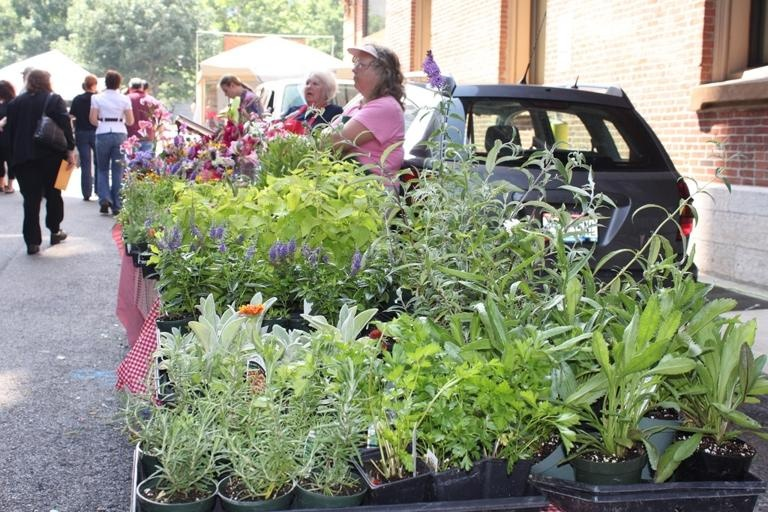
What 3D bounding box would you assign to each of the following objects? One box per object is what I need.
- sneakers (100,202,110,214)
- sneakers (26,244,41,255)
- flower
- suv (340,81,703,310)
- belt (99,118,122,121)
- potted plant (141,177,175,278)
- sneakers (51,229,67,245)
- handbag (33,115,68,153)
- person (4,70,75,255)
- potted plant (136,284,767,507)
[{"bbox_3d":[-5.032,-0.830,12.563,0.110,0.126,0.294,-5,-33,-32],"label":"sneakers"},{"bbox_3d":[-4.542,-0.083,9.033,0.082,0.086,0.196,-2,7,-6],"label":"sneakers"},{"bbox_3d":[-0.659,-0.015,3.730,0.748,0.306,0.784,0,20,4],"label":"flower"},{"bbox_3d":[1.300,-0.513,5.094,1.245,1.102,2.202,0,21,-15],"label":"suv"},{"bbox_3d":[-4.657,-2.308,11.819,0.318,0.066,0.083,0,14,2],"label":"belt"},{"bbox_3d":[-1.413,-0.173,4.383,0.209,0.635,0.253,9,-6,-8],"label":"potted plant"},{"bbox_3d":[-4.496,-0.258,9.696,0.112,0.140,0.307,-1,16,5],"label":"sneakers"},{"bbox_3d":[-4.097,-1.526,8.693,0.390,0.393,0.141,4,11,-10],"label":"handbag"},{"bbox_3d":[-4.391,-1.200,8.988,0.734,2.342,0.846,-7,15,-28],"label":"person"},{"bbox_3d":[-0.056,0.527,2.588,1.543,0.509,1.107,-2,7,-12],"label":"potted plant"}]
